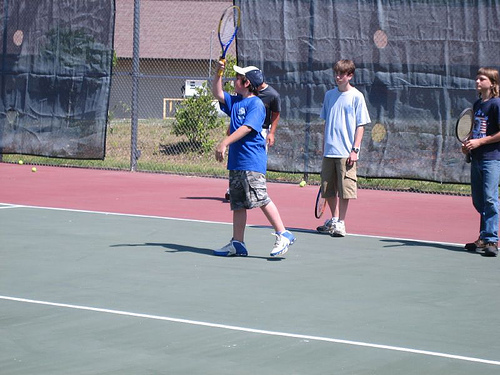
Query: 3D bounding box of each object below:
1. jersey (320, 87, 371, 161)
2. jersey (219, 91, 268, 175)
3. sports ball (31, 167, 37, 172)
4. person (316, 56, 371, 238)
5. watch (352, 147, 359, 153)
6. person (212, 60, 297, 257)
[{"bbox_3d":[1.175,-0.833,7.712,0.237,0.668,0.711,1,2,-43],"label":"jersey"},{"bbox_3d":[-0.126,-0.632,6.300,0.627,0.944,0.490,1,-6,13],"label":"jersey"},{"bbox_3d":[-5.105,-0.429,14.250,0.082,0.083,0.099,-20,12,17],"label":"sports ball"},{"bbox_3d":[1.185,-0.488,7.732,0.500,1.666,0.559,2,1,-11],"label":"person"},{"bbox_3d":[1.316,-0.476,7.524,0.045,0.071,0.068,1,6,-11],"label":"watch"},{"bbox_3d":[0.005,-0.287,6.278,0.847,2.044,0.773,2,1,-4],"label":"person"}]
